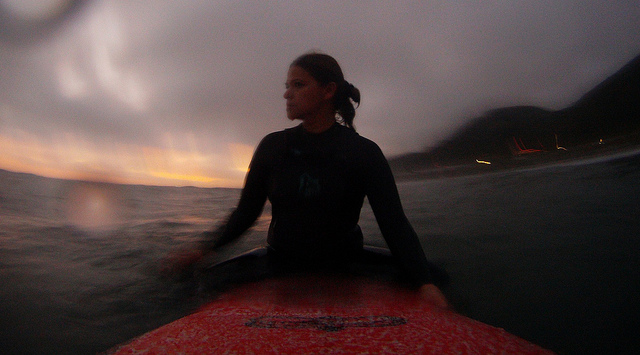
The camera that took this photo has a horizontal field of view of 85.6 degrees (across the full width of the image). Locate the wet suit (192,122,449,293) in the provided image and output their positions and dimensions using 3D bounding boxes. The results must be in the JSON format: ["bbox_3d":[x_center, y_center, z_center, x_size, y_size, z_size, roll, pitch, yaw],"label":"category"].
[{"bbox_3d":[0.001,0.231,3.028,2.280,1.321,1.041,3,0,15],"label":"wet suit"}]
